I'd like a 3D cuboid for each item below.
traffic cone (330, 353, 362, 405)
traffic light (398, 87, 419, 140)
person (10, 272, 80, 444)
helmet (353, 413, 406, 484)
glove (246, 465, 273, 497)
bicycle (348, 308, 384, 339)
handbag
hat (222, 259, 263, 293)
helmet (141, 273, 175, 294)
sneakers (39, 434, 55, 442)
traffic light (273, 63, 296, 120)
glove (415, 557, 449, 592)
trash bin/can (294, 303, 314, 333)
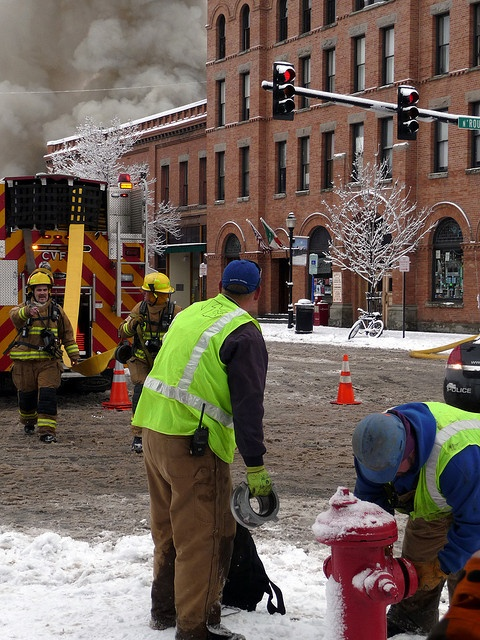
[{"bbox_3d":[1.417,0.834,11.573,0.526,0.786,0.565,-1,-2,-3],"label":"traffic cone"},{"bbox_3d":[2.981,-3.721,14.970,0.370,1.000,0.471,0,0,12],"label":"traffic light"},{"bbox_3d":[-2.070,0.339,8.797,0.581,1.619,0.643,0,0,16],"label":"person"},{"bbox_3d":[0.508,0.448,3.063,0.177,0.264,0.136,-2,-18,28],"label":"helmet"},{"bbox_3d":[0.086,0.680,3.559,0.109,0.131,0.119,0,0,-5],"label":"glove"},{"bbox_3d":[3.780,0.088,25.259,0.845,0.890,4.035,0,0,8],"label":"bicycle"},{"bbox_3d":[0.027,1.201,4.117,0.263,0.441,0.168,-13,31,-22],"label":"handbag"},{"bbox_3d":[0.016,-0.222,3.941,0.115,0.103,0.192,6,35,8],"label":"hat"},{"bbox_3d":[-0.799,-0.372,8.064,0.240,0.150,0.202,1,10,0],"label":"helmet"},{"bbox_3d":[-1.936,1.185,8.538,0.168,0.096,0.196,0,0,-14],"label":"sneakers"},{"bbox_3d":[0.707,-3.783,13.718,0.358,0.947,0.604,0,0,2],"label":"traffic light"},{"bbox_3d":[0.859,1.163,3.840,0.145,0.211,0.060,8,1,18],"label":"glove"},{"bbox_3d":[1.964,-0.106,25.733,0.504,0.978,0.569,0,0,-2],"label":"trash bin/can"}]
